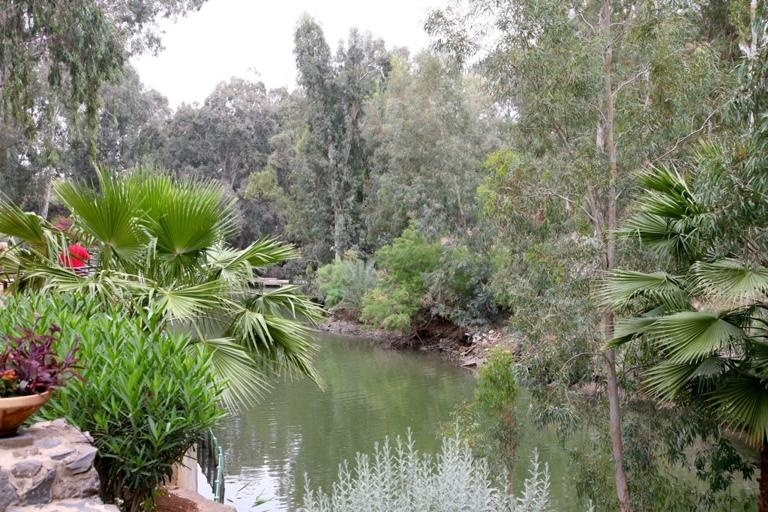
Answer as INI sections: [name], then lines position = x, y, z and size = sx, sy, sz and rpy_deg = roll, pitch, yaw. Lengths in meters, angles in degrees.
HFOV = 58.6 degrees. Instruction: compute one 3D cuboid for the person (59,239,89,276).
[person]
position = -4.465, 0.035, 9.904
size = 0.391, 0.476, 0.802
rpy_deg = -3, 5, -26
